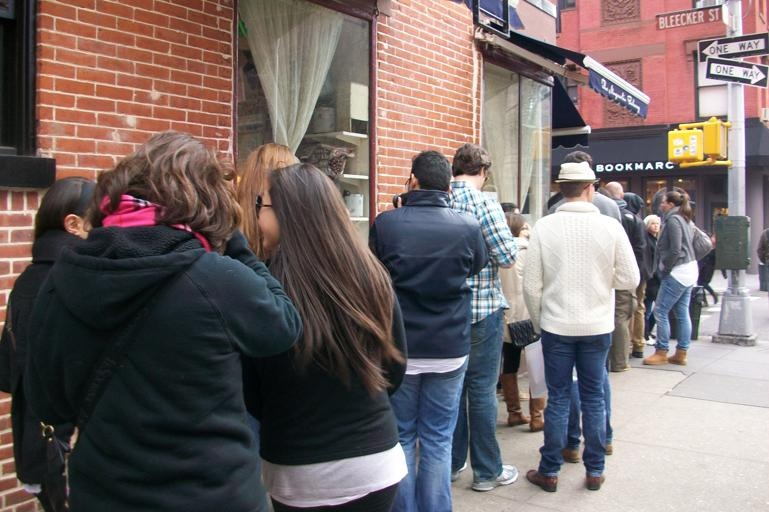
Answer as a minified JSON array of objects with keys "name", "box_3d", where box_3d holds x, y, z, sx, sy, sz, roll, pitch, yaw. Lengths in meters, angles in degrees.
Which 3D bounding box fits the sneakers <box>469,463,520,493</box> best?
[{"name":"sneakers","box_3d":[0.940,1.847,6.166,0.417,0.172,0.167,-7,8,-40]}]

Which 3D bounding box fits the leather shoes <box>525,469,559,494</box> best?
[{"name":"leather shoes","box_3d":[1.300,1.832,6.096,0.114,0.193,0.296,-5,14,-32]}]

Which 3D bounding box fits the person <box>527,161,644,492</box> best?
[{"name":"person","box_3d":[1.597,0.735,6.038,0.884,2.325,0.554,0,10,11]}]

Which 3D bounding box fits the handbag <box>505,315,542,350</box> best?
[{"name":"handbag","box_3d":[1.235,0.685,6.456,0.402,0.370,0.112,-6,-4,0]}]

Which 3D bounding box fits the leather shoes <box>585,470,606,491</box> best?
[{"name":"leather shoes","box_3d":[1.738,1.848,6.021,0.084,0.083,0.198,0,6,13]}]

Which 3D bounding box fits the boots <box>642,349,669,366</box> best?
[{"name":"boots","box_3d":[3.539,1.324,9.630,0.364,0.329,0.157,2,-4,14]}]

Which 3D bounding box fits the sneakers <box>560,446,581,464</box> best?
[{"name":"sneakers","box_3d":[1.670,1.767,6.544,0.086,0.084,0.206,-1,4,-41]}]

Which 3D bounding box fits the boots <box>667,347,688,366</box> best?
[{"name":"boots","box_3d":[3.828,1.305,9.453,0.132,0.214,0.329,0,5,-17]}]
